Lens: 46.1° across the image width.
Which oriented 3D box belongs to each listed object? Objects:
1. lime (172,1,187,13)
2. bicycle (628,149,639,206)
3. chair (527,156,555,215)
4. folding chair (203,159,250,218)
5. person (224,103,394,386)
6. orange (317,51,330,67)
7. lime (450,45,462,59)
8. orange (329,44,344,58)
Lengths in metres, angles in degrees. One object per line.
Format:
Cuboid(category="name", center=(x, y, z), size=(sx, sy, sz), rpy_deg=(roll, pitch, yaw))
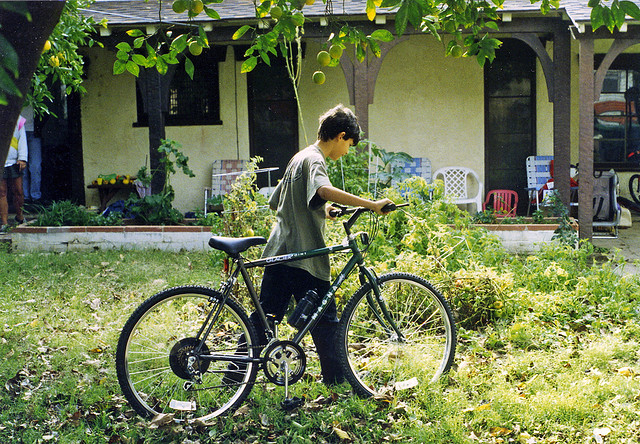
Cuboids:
Cuboid(category="lime", center=(-1.288, -1.958, 6.864), size=(0.136, 0.133, 0.160), rpy_deg=(2, 1, -6))
Cuboid(category="bicycle", center=(5.971, -0.868, 14.371), size=(0.179, 1.011, 0.260), rpy_deg=(2, 1, 13))
Cuboid(category="chair", center=(3.804, -0.704, 13.114), size=(0.428, 0.932, 1.427), rpy_deg=(2, 1, 15))
Cuboid(category="folding chair", center=(-1.700, -0.739, 13.781), size=(0.817, 1.170, 0.868), rpy_deg=(-1, 17, -2))
Cuboid(category="person", center=(-0.122, 0.241, 7.503), size=(1.337, 2.069, 0.572), rpy_deg=(2, 1, 4))
Cuboid(category="orange", center=(0.021, -1.610, 7.403), size=(0.111, 0.110, 0.189), rpy_deg=(2, 1, -27))
Cuboid(category="lime", center=(1.339, -1.682, 7.461), size=(0.108, 0.144, 0.115), rpy_deg=(-3, -3, 4))
Cuboid(category="orange", center=(0.163, -1.703, 7.424), size=(0.133, 0.166, 0.130), rpy_deg=(1, 0, -43))
